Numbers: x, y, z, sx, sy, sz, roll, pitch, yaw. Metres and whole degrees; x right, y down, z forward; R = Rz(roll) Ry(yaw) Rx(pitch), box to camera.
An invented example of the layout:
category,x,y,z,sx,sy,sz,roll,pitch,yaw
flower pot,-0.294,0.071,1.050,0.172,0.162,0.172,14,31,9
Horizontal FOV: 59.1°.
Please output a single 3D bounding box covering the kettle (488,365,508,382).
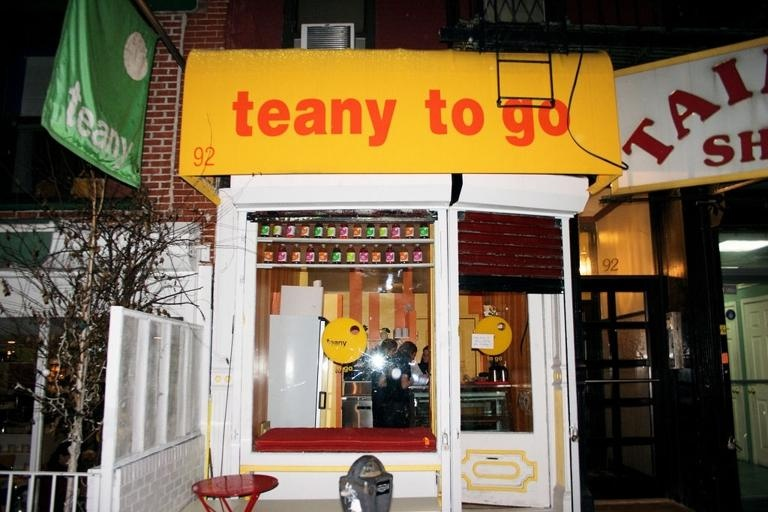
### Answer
category,x,y,z,sx,sy,sz,roll,pitch,yaw
kettle,1.305,1.346,7.683,0.231,0.175,0.138,0,-6,-8
